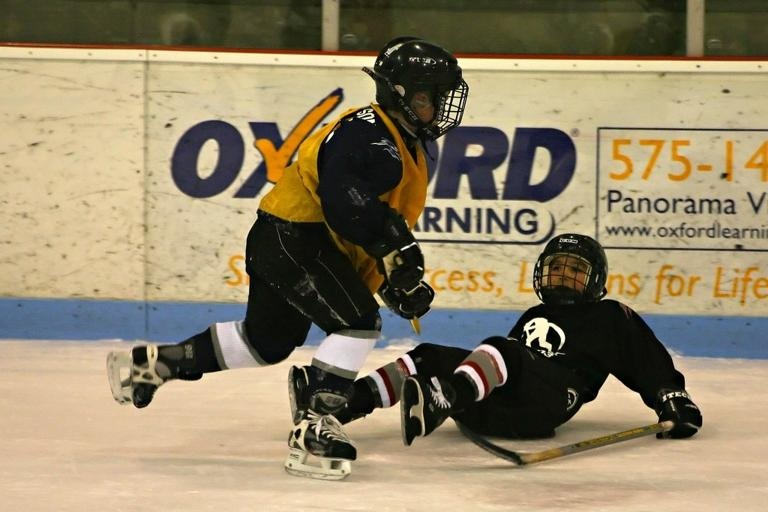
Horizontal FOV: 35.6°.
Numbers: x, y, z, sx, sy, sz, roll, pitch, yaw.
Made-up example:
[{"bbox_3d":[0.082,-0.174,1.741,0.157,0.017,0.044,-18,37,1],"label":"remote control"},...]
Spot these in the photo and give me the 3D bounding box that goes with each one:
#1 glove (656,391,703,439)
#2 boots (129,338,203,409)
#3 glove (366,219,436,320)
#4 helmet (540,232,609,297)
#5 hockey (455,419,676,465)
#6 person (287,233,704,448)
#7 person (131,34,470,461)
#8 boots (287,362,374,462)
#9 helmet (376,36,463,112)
[{"bbox_3d":[1.560,0.864,6.498,0.253,0.244,0.136,-23,-12,-9],"label":"glove"},{"bbox_3d":[-1.160,0.586,6.269,0.612,0.202,0.193,-9,-1,-6],"label":"boots"},{"bbox_3d":[0.086,0.077,6.117,0.334,0.505,0.160,-21,14,35],"label":"glove"},{"bbox_3d":[1.017,0.065,6.475,0.356,0.328,0.381,2,-28,20],"label":"helmet"},{"bbox_3d":[1.138,1.023,6.645,0.224,0.197,2.920,1,-6,30],"label":"hockey"},{"bbox_3d":[0.518,0.409,6.395,2.094,0.932,1.131,3,-4,-23],"label":"person"},{"bbox_3d":[-0.350,-0.073,6.146,1.478,2.166,0.599,3,6,-6],"label":"person"},{"bbox_3d":[-0.287,0.825,6.159,0.457,0.533,0.422,4,6,2],"label":"boots"},{"bbox_3d":[0.086,-0.966,6.371,0.435,0.343,0.589,24,23,39],"label":"helmet"}]
